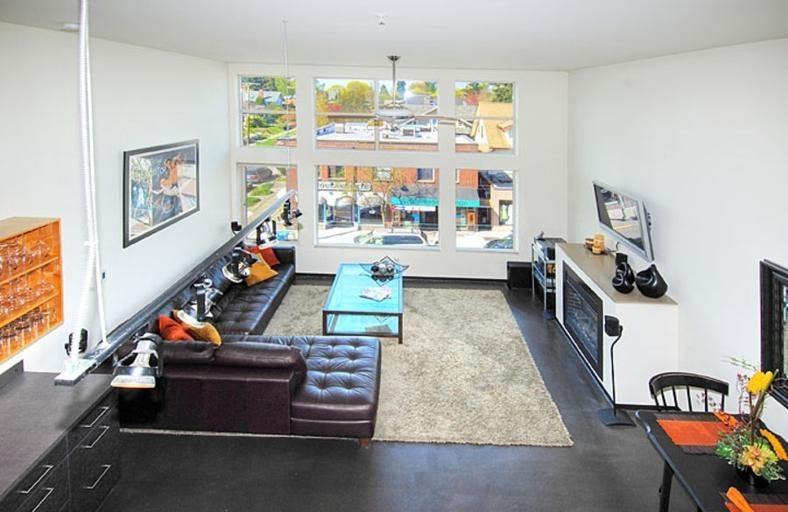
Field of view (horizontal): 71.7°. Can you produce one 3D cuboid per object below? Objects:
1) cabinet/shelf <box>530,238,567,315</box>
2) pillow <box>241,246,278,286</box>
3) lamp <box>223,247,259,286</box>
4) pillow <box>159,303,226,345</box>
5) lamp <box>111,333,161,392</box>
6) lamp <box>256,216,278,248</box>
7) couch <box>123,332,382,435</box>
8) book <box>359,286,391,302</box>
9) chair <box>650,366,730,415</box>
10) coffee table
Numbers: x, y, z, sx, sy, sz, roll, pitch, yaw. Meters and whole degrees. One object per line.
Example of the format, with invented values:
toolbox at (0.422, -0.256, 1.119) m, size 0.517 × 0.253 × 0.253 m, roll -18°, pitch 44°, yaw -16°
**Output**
cabinet/shelf at (2.738, 0.277, 9.469) m, size 0.526 × 0.986 × 1.345 m, roll -2°, pitch 10°, yaw 7°
pillow at (-2.060, 0.188, 8.322) m, size 0.156 × 0.489 × 0.524 m, roll -32°, pitch -10°, yaw 32°
lamp at (-1.486, 0.104, 5.251) m, size 0.227 × 0.366 × 0.395 m, roll 2°, pitch 10°, yaw -1°
pillow at (-2.177, 0.750, 5.788) m, size 0.614 × 0.234 × 0.610 m, roll 14°, pitch -4°, yaw 42°
lamp at (-1.861, 0.774, 3.983) m, size 0.318 × 0.369 × 0.340 m, roll 0°, pitch 10°, yaw -8°
lamp at (-1.414, -0.275, 6.133) m, size 0.215 × 0.312 × 0.527 m, roll 2°, pitch 10°, yaw 3°
couch at (-1.490, 1.364, 6.252) m, size 2.597 × 0.984 × 1.154 m, roll 2°, pitch 10°, yaw 1°
book at (-0.265, 0.579, 8.268) m, size 0.253 × 0.065 × 0.251 m, roll 8°, pitch 19°, yaw 27°
chair at (3.046, 1.378, 5.539) m, size 0.614 × 0.722 × 0.530 m, roll -3°, pitch -8°, yaw 2°
coffee table at (-0.439, 0.713, 8.157) m, size 0.929 × 0.431 × 1.672 m, roll 0°, pitch 19°, yaw 0°
